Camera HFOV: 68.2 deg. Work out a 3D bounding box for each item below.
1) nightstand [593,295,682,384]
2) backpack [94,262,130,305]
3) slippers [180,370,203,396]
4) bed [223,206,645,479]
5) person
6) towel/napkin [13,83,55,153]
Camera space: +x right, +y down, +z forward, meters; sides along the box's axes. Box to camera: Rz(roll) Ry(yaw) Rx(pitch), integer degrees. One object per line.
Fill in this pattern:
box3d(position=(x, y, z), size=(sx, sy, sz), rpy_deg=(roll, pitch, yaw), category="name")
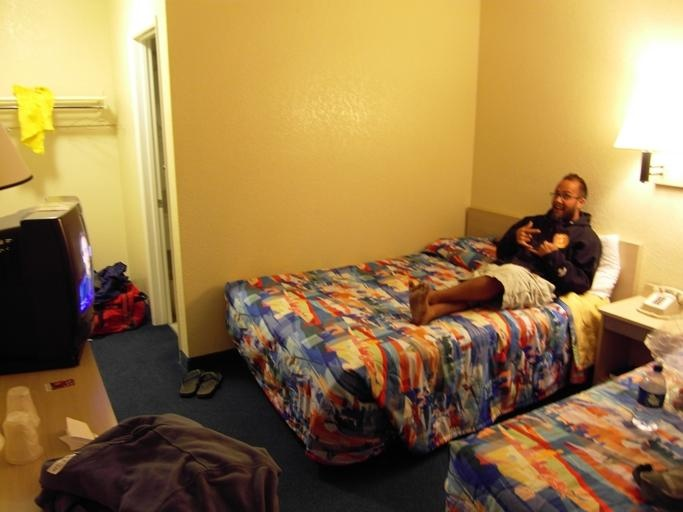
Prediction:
box3d(position=(1.865, 0.582, 3.180), size=(0.412, 0.506, 0.473), rpy_deg=(8, 20, 41), category="nightstand")
box3d(position=(-2.002, 0.240, 4.373), size=(0.270, 0.125, 0.357), rpy_deg=(21, 36, 36), category="backpack")
box3d(position=(-1.042, 0.877, 3.483), size=(0.147, 0.072, 0.239), rpy_deg=(-3, 18, -15), category="slippers")
box3d(position=(0.593, 0.483, 3.191), size=(1.948, 0.763, 1.503), rpy_deg=(-10, 24, -26), category="bed")
box3d(position=(0.965, -0.168, 3.474), size=(1.411, 0.839, 0.820), rpy_deg=(-10, 17, -22), category="person")
box3d(position=(-2.507, -1.127, 4.153), size=(0.261, 0.521, 0.182), rpy_deg=(-9, 20, -31), category="towel/napkin")
